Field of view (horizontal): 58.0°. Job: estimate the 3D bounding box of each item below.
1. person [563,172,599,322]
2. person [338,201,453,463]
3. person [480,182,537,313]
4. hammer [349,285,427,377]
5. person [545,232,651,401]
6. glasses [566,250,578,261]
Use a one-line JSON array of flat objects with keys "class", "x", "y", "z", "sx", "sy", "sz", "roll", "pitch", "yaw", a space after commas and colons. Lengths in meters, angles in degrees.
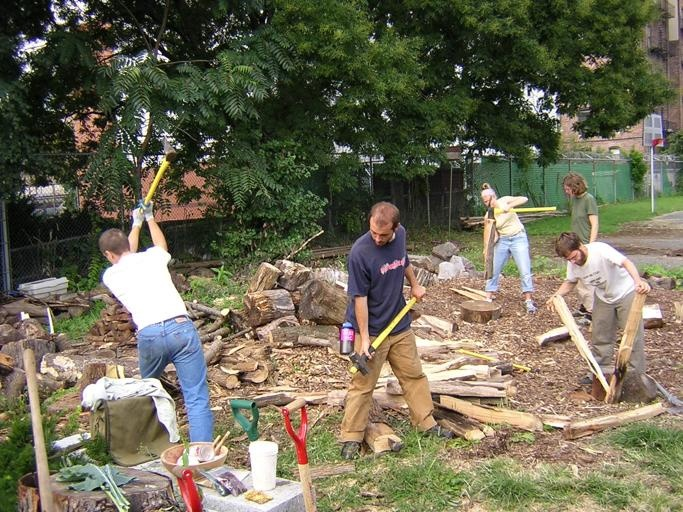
[{"class": "person", "x": 3.680, "y": -0.288, "z": 9.524, "sx": 0.566, "sy": 2.472, "sz": 0.729, "roll": 7, "pitch": 12, "yaw": 18}, {"class": "person", "x": 0.616, "y": 0.718, "z": 6.697, "sx": 1.236, "sy": 2.608, "sz": 0.969, "roll": 0, "pitch": 0, "yaw": 34}, {"class": "person", "x": 2.854, "y": -0.267, "z": 10.729, "sx": 0.960, "sy": 2.220, "sz": 0.949, "roll": 6, "pitch": 11, "yaw": 18}, {"class": "hammer", "x": 0.392, "y": 0.874, "z": 6.421, "sx": 1.304, "sy": 0.349, "sz": 0.177, "roll": -47, "pitch": -10, "yaw": -2}, {"class": "person", "x": 3.136, "y": 0.705, "z": 7.364, "sx": 0.930, "sy": 2.157, "sz": 1.070, "roll": -7, "pitch": -2, "yaw": 20}, {"class": "glasses", "x": 2.631, "y": -0.006, "z": 7.072, "sx": 0.038, "sy": 0.125, "sz": 0.110, "roll": -1, "pitch": 6, "yaw": -41}]
